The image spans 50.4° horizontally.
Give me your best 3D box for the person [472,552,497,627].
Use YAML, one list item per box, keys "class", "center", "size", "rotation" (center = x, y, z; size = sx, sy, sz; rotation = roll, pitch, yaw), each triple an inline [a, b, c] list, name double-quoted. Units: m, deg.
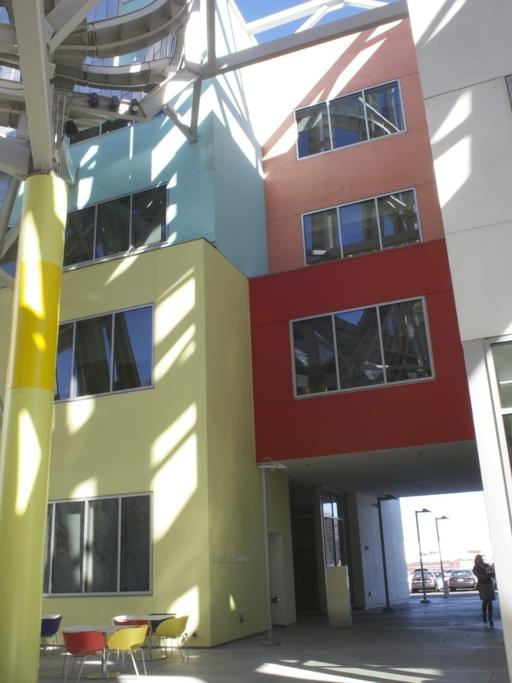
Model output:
- class: "person"
  center: [5.354, 5.789, 12.752]
  size: [0.390, 1.530, 3.344]
  rotation: [-10, -21, 19]
